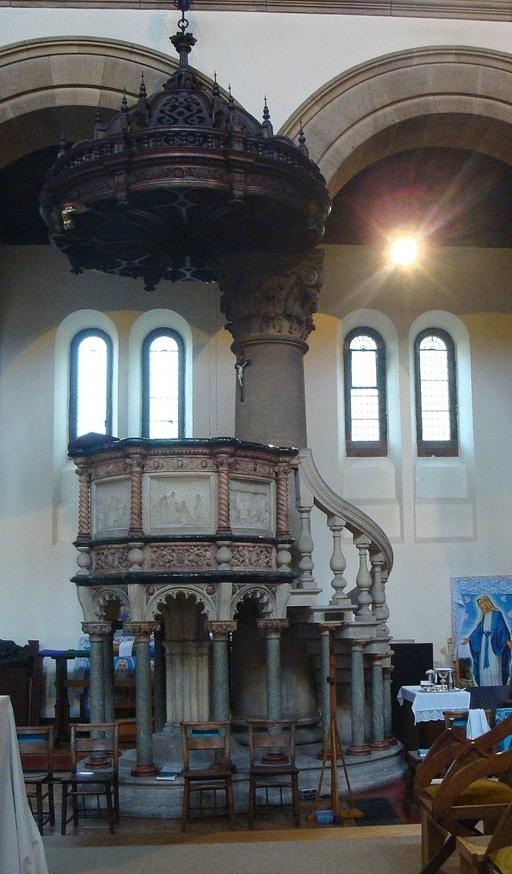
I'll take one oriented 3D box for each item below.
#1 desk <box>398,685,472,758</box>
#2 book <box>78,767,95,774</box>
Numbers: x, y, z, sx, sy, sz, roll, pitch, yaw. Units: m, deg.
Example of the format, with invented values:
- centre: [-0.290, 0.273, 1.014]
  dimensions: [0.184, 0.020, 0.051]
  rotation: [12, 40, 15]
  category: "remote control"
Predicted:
- centre: [1.706, 2.845, 13.058]
  dimensions: [0.731, 0.861, 0.738]
  rotation: [2, -12, -9]
  category: "desk"
- centre: [-1.525, 3.020, 11.731]
  dimensions: [0.196, 0.040, 0.198]
  rotation: [4, -5, 0]
  category: "book"
